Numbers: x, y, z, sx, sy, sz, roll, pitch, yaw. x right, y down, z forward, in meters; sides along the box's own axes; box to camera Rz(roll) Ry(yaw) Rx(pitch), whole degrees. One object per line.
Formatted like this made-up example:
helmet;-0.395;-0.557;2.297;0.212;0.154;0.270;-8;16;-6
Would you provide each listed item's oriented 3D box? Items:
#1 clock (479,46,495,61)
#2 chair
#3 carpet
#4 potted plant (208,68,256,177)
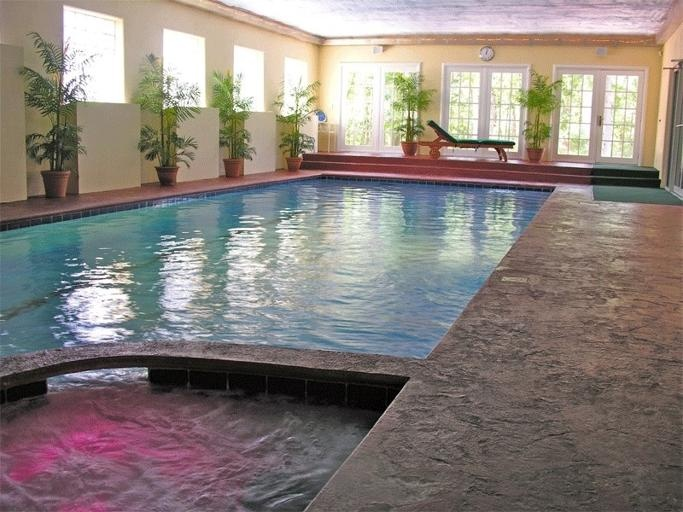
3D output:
clock;4.551;-6.346;15.832;0.470;0.449;0.137;4;14;14
chair;3.639;-3.326;14.776;2.679;0.763;1.125;4;14;5
carpet;6.774;-1.791;11.918;1.668;0.739;6.016;6;11;24
potted plant;-2.756;-3.338;12.745;1.006;2.683;1.533;2;13;3
